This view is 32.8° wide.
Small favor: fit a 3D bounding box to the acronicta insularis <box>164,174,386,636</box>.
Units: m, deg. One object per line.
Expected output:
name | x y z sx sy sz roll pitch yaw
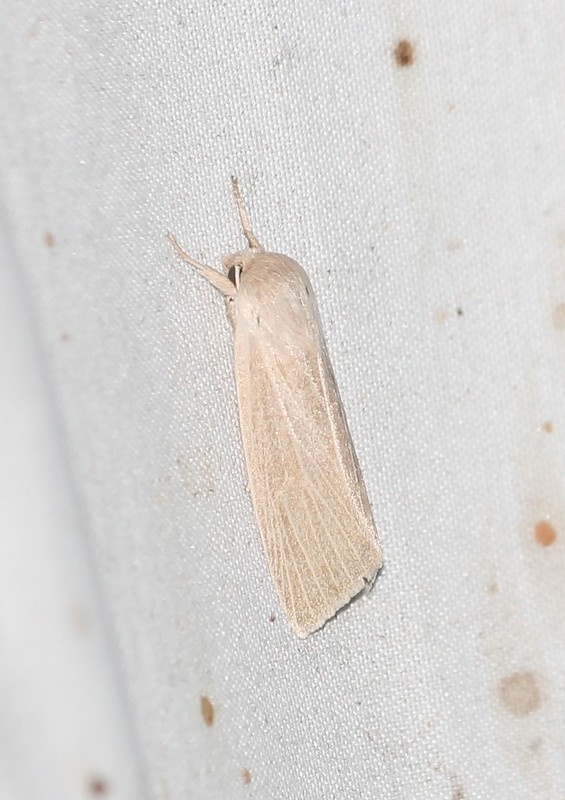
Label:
acronicta insularis | -0.008 0.004 0.786 0.103 0.103 0.343 -15 -84 -3
